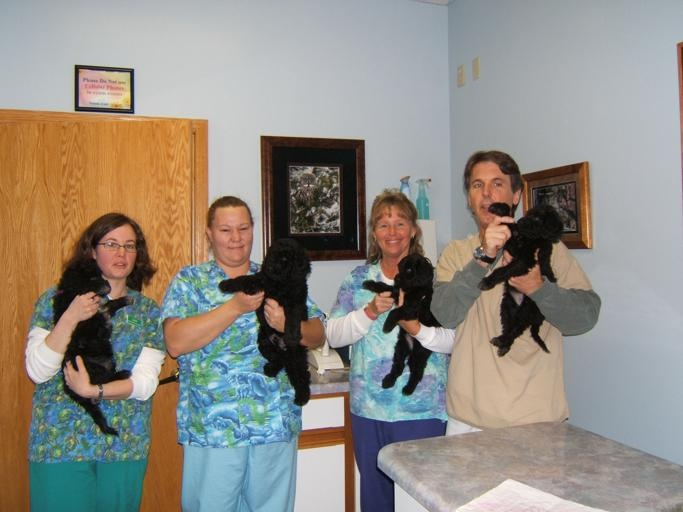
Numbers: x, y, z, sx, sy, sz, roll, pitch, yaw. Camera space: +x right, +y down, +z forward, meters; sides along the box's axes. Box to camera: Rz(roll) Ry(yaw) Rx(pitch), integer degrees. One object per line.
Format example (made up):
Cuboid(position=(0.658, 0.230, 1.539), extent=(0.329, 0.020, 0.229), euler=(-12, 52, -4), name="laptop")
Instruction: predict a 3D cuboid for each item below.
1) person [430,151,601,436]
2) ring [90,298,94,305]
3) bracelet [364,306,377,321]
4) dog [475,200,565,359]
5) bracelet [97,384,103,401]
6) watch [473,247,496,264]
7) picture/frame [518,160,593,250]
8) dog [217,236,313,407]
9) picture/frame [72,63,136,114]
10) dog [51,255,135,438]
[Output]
Cuboid(position=(0.762, 0.180, 2.561), extent=(0.603, 1.313, 0.737), euler=(6, -10, -33), name="person")
Cuboid(position=(-1.168, 0.209, 2.547), extent=(0.028, 0.029, 0.008), euler=(7, -7, -39), name="ring")
Cuboid(position=(0.148, 0.293, 2.789), extent=(0.055, 0.042, 0.056), euler=(33, 10, 30), name="bracelet")
Cuboid(position=(0.809, 0.103, 2.456), extent=(0.349, 0.683, 0.238), euler=(0, 6, 16), name="dog")
Cuboid(position=(-1.130, 0.635, 2.548), extent=(0.027, 0.074, 0.042), euler=(-5, 7, -27), name="bracelet")
Cuboid(position=(0.632, 0.000, 2.409), extent=(0.071, 0.073, 0.077), euler=(15, 48, -12), name="watch")
Cuboid(position=(1.228, -0.289, 3.059), extent=(0.042, 0.609, 0.573), euler=(-1, 0, -23), name="picture/frame")
Cuboid(position=(-0.365, 0.353, 2.609), extent=(0.448, 0.819, 0.370), euler=(-7, 13, -26), name="dog")
Cuboid(position=(-1.686, -1.168, 3.809), extent=(0.339, 0.311, 0.035), euler=(-2, 4, -18), name="picture/frame")
Cuboid(position=(-1.241, 0.390, 2.746), extent=(0.367, 0.925, 0.291), euler=(-15, 12, -36), name="dog")
